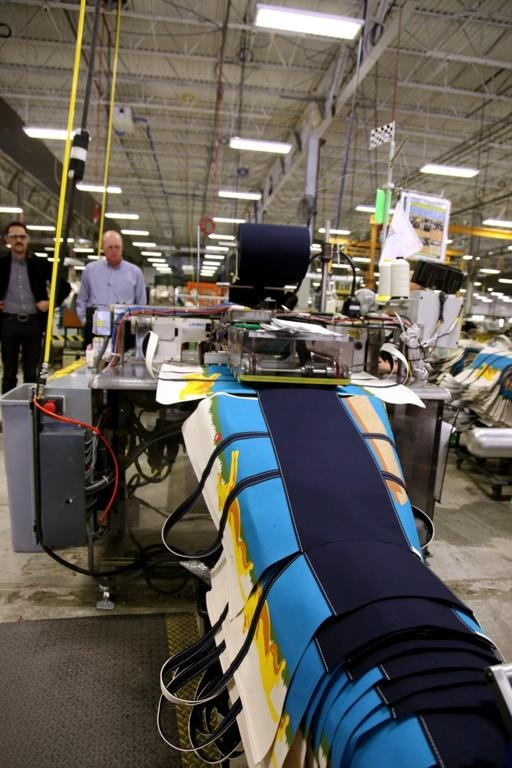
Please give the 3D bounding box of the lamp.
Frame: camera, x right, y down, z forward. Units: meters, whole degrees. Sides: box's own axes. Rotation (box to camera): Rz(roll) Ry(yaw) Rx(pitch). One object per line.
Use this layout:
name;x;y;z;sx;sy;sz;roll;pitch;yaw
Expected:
lamp;0.394;-2.906;4.430;0.848;0.115;0.499;3;6;-10
